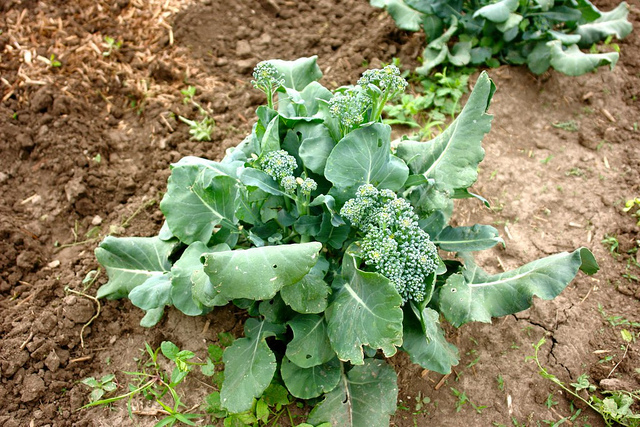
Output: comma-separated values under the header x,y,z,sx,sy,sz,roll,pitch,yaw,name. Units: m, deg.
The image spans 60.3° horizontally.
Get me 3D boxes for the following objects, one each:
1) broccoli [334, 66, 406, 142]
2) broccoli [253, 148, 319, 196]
x,y,z,sx,sy,sz,roll,pitch,yaw,name
0.360,-0.882,4.473,0.445,0.479,0.588,29,74,10,broccoli
-0.258,-0.293,4.338,0.452,0.196,0.352,44,90,12,broccoli
